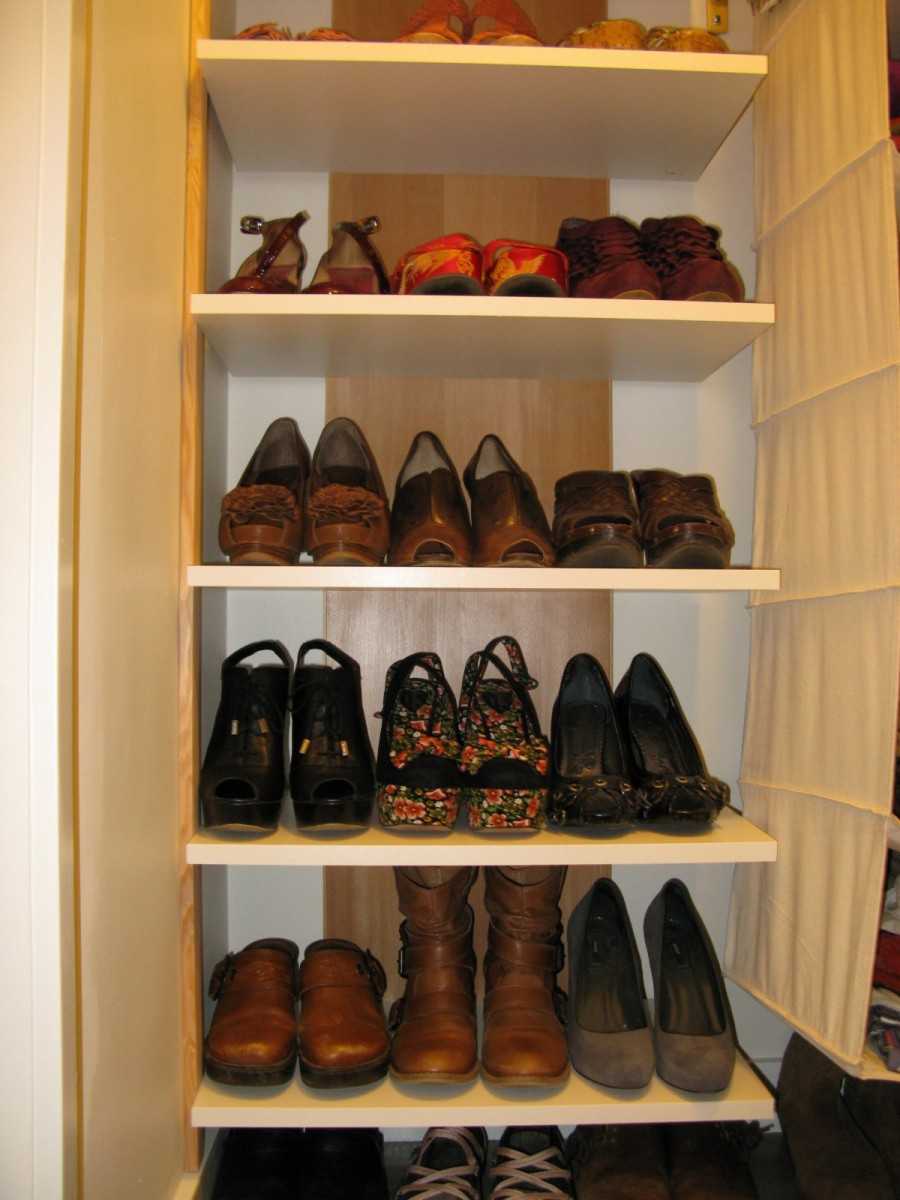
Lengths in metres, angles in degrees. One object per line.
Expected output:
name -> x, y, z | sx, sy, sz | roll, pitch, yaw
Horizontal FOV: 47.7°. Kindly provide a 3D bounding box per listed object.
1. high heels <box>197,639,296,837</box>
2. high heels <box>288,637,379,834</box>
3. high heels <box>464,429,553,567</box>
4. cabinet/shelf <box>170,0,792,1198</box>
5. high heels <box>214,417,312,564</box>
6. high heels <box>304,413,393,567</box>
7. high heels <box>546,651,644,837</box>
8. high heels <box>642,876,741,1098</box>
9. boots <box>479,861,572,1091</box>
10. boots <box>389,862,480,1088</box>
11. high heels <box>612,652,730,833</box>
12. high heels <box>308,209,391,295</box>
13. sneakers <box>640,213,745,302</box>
high heels -> -0.248, 0.176, 1.319 | 0.084, 0.113, 0.269 | 3, 45, -6
high heels -> -0.147, 0.160, 1.293 | 0.083, 0.118, 0.274 | -1, 38, -7
high heels -> 0.071, -0.131, 1.327 | 0.072, 0.088, 0.225 | -6, 30, 0
cabinet/shelf -> 0.038, 0.012, 1.381 | 0.780, 1.333, 0.380 | -3, -1, -6
high heels -> -0.245, -0.158, 1.301 | 0.080, 0.243, 0.073 | 2, -42, -4
high heels -> -0.123, -0.152, 1.310 | 0.074, 0.223, 0.084 | -2, -40, -6
high heels -> 0.192, 0.198, 1.333 | 0.083, 0.099, 0.251 | -2, 24, 6
high heels -> 0.303, 0.509, 1.361 | 0.092, 0.099, 0.279 | 0, 27, 3
boots -> 0.097, 0.472, 1.349 | 0.113, 0.239, 0.350 | -1, 4, 4
boots -> -0.021, 0.475, 1.334 | 0.111, 0.217, 0.308 | -2, 1, 2
high heels -> 0.281, 0.190, 1.374 | 0.107, 0.104, 0.262 | -5, 27, -3
high heels -> -0.130, -0.447, 1.351 | 0.066, 0.186, 0.070 | 5, -43, -18
sneakers -> 0.303, -0.443, 1.324 | 0.067, 0.078, 0.190 | -12, 37, -6
